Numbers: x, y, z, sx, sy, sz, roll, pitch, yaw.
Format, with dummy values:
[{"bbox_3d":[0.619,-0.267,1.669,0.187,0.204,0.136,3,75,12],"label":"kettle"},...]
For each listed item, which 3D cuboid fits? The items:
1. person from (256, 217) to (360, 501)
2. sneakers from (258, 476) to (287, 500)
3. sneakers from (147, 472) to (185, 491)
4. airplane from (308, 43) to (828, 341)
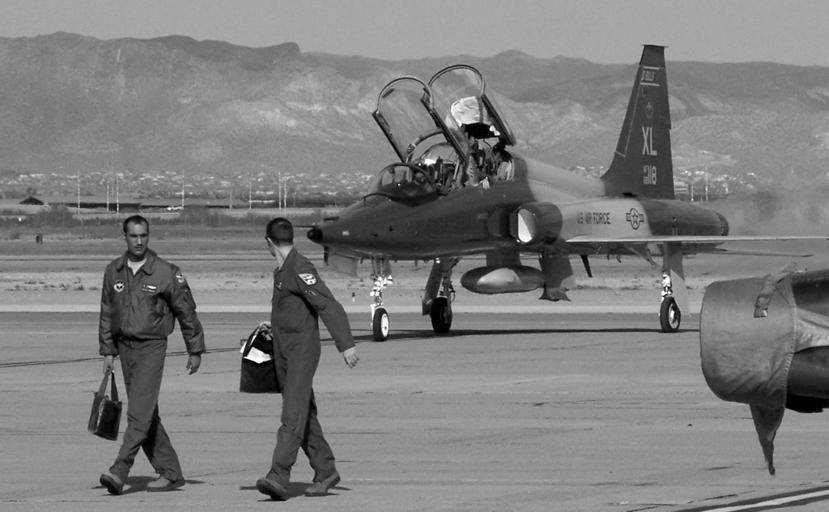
[{"bbox_3d":[-1.585,1.412,19.146,1.226,3.807,1.305,0,8,-3],"label":"person"},{"bbox_3d":[-1.959,3.185,18.808,0.195,0.465,0.230,-52,16,-12],"label":"sneakers"},{"bbox_3d":[-3.532,3.201,19.298,0.590,0.189,0.193,2,0,-1],"label":"sneakers"},{"bbox_3d":[2.711,-1.372,34.317,10.455,4.549,10.228,-1,-2,39],"label":"airplane"}]
